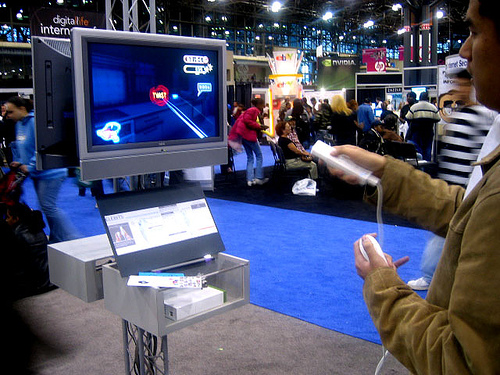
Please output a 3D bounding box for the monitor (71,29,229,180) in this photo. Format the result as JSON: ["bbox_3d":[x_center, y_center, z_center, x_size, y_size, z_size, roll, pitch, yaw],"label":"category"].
[{"bbox_3d":[-0.448,-0.370,1.599,0.638,0.562,0.067,-7,9,-36],"label":"monitor"}]

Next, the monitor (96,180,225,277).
[{"bbox_3d":[-0.367,0.175,1.571,0.499,0.312,0.201,-9,4,-39],"label":"monitor"}]

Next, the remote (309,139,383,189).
[{"bbox_3d":[0.312,-0.077,1.206,0.222,0.061,0.116,36,34,12],"label":"remote"}]

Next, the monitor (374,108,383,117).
[{"bbox_3d":[5.472,-3.241,15.625,0.291,0.319,0.494,7,20,23],"label":"monitor"}]

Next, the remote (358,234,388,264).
[{"bbox_3d":[0.312,0.155,0.929,0.017,0.063,0.046,-32,-4,19],"label":"remote"}]

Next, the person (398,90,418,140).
[{"bbox_3d":[4.676,-2.003,10.726,0.503,1.572,0.479,-4,28,5],"label":"person"}]

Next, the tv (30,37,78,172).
[{"bbox_3d":[-0.845,-0.355,1.560,0.193,0.540,0.096,-12,20,-34],"label":"tv"}]

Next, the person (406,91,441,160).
[{"bbox_3d":[4.219,-1.465,8.925,0.733,1.891,0.614,-1,28,18],"label":"person"}]

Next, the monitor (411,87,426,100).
[{"bbox_3d":[5.458,-3.086,11.889,0.413,0.439,0.832,5,19,19],"label":"monitor"}]
